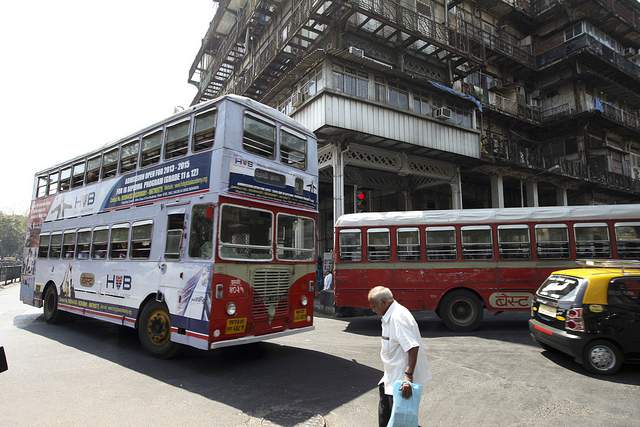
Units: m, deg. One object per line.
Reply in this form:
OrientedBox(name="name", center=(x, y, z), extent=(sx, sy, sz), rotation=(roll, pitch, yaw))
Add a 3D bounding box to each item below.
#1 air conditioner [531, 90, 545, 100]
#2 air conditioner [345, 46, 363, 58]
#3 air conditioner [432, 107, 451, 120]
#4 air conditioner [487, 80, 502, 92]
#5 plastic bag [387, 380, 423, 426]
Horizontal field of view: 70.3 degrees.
OrientedBox(name="air conditioner", center=(16.661, -9.079, 34.790), extent=(0.721, 0.460, 0.710), rotation=(6, -6, -38))
OrientedBox(name="air conditioner", center=(1.747, -8.077, 22.737), extent=(0.744, 0.394, 0.516), rotation=(6, -5, -31))
OrientedBox(name="air conditioner", center=(6.767, -5.518, 25.259), extent=(0.674, 0.452, 0.680), rotation=(-6, -10, 43))
OrientedBox(name="air conditioner", center=(12.223, -8.912, 31.767), extent=(1.174, 0.748, 0.505), rotation=(-6, 12, -29))
OrientedBox(name="plastic bag", center=(1.722, 3.870, 9.210), extent=(0.595, 0.875, 0.432), rotation=(4, 11, 19))
